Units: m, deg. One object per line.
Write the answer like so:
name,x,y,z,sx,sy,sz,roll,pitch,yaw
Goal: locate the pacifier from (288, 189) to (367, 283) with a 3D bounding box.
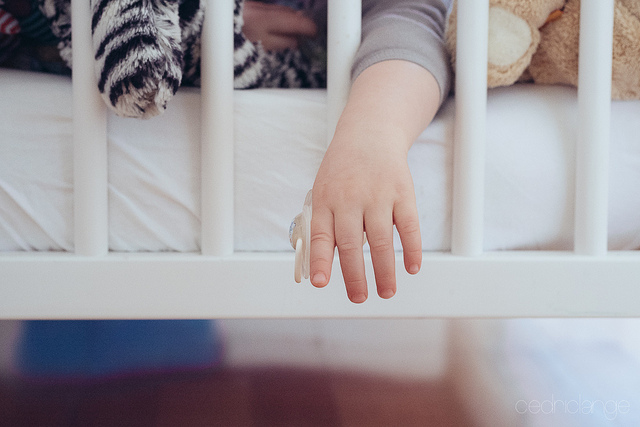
pacifier,-0.009,0.050,1.117,0.125,0.175,0.075,3,-12,0
